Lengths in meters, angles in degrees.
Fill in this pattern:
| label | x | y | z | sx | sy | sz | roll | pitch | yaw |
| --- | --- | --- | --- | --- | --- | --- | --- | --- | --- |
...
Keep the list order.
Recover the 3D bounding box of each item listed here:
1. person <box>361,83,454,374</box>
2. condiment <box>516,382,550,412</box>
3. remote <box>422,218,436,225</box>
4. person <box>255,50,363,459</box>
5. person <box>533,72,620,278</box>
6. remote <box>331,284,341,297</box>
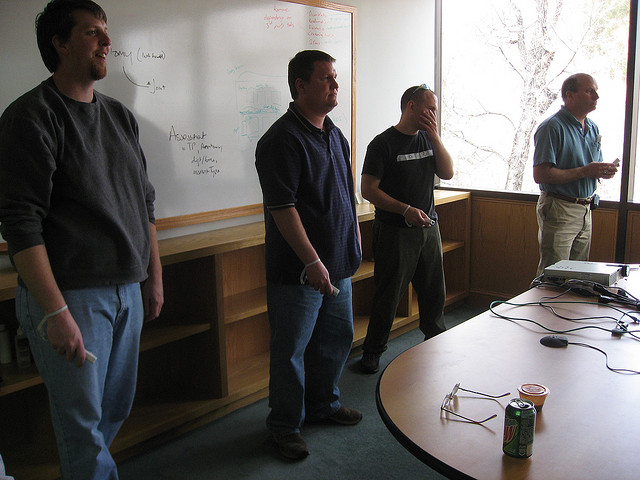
| label | x | y | z | sx | sy | sz | roll | pitch | yaw |
| --- | --- | --- | --- | --- | --- | --- | --- | --- | --- |
| person | 0.568 | -0.052 | 3.079 | 0.569 | 1.917 | 0.443 | 2 | 15 | 17 |
| condiment | 0.671 | 0.477 | 1.460 | 0.072 | 0.061 | 0.076 | 6 | 13 | 29 |
| remote | 0.694 | -0.137 | 2.927 | 0.048 | 0.023 | 0.073 | 7 | 4 | 38 |
| person | -0.046 | 0.080 | 2.376 | 0.541 | 2.037 | 0.485 | -3 | 14 | -2 |
| person | 1.831 | -0.510 | 3.413 | 0.515 | 1.427 | 0.525 | 4 | 16 | 25 |
| remote | 0.076 | 0.230 | 2.221 | 0.012 | 0.049 | 0.048 | -43 | 31 | -1 |
